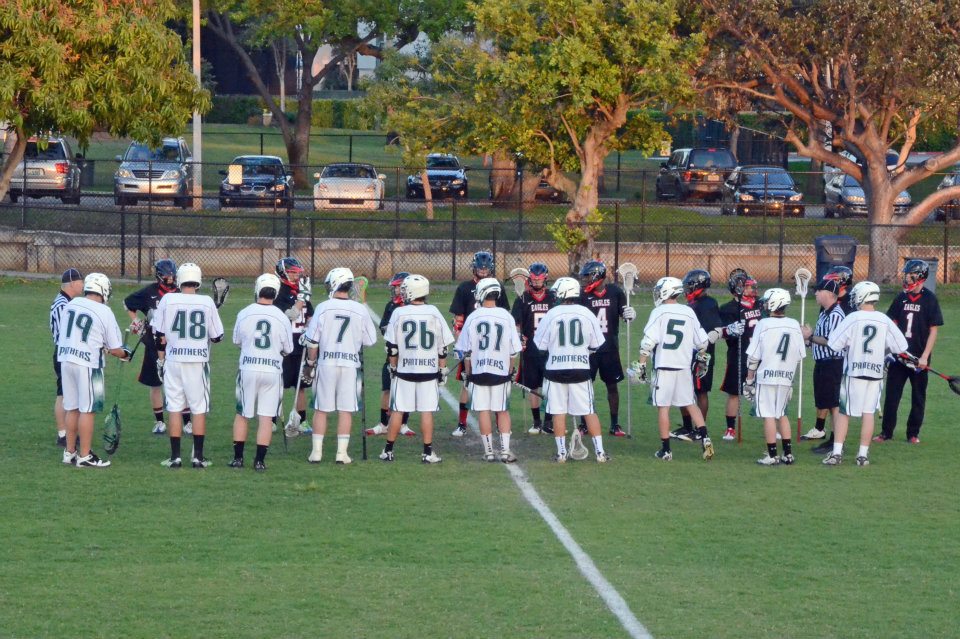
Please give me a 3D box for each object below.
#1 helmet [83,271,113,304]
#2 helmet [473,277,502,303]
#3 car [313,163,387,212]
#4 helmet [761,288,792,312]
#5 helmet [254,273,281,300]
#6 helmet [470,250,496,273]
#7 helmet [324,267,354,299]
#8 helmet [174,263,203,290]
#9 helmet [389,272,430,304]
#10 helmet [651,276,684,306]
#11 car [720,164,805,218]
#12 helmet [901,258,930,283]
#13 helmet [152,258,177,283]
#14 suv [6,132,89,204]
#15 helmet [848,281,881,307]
[{"bbox_3d":[-6.346,-0.510,28.797,0.377,0.481,0.508,7,11,12],"label":"helmet"},{"bbox_3d":[0.173,-0.465,29.191,0.359,0.407,0.434,5,8,-20],"label":"helmet"},{"bbox_3d":[-4.047,-4.048,53.292,2.129,1.619,2.224,0,-1,-7],"label":"car"},{"bbox_3d":[5.033,-0.306,29.156,0.418,0.384,0.325,22,21,30],"label":"helmet"},{"bbox_3d":[-3.540,-0.523,28.804,0.349,0.440,0.459,3,10,-16],"label":"helmet"},{"bbox_3d":[0.094,-0.963,29.769,0.296,0.374,0.393,1,-13,-4],"label":"helmet"},{"bbox_3d":[-2.330,-0.594,29.088,0.427,0.483,0.618,0,-1,-4],"label":"helmet"},{"bbox_3d":[-4.860,-0.694,28.899,0.379,0.457,0.474,-1,11,-18],"label":"helmet"},{"bbox_3d":[-1.172,-0.499,29.046,0.457,0.365,0.602,-3,0,-42],"label":"helmet"},{"bbox_3d":[3.198,-0.460,29.500,0.496,0.470,0.408,6,6,19],"label":"helmet"},{"bbox_3d":[8.815,-3.949,53.501,2.125,1.727,2.484,0,-1,-3],"label":"car"},{"bbox_3d":[7.689,-0.819,30.267,0.453,0.435,0.364,-1,4,-13],"label":"helmet"},{"bbox_3d":[-5.382,-0.828,29.691,0.387,0.395,0.324,29,28,15],"label":"helmet"},{"bbox_3d":[-12.657,-4.273,50.895,2.542,2.318,5.213,-2,5,-29],"label":"suv"},{"bbox_3d":[6.597,-0.408,29.384,0.363,0.419,0.460,-2,14,-23],"label":"helmet"}]
